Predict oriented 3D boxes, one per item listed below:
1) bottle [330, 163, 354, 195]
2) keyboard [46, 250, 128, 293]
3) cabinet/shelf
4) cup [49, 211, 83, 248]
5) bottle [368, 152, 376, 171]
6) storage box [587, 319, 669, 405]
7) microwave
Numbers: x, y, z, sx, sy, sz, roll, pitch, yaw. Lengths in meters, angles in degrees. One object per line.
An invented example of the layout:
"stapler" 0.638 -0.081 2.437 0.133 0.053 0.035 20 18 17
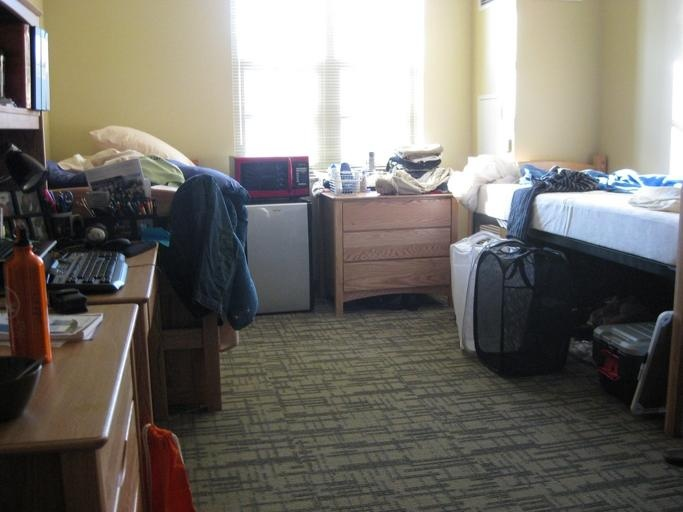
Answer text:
"bottle" 0.003 -0.602 4.032 0.167 0.218 0.306 -3 15 -7
"keyboard" -0.894 0.047 1.881 0.241 0.065 0.400 -2 17 -17
"cabinet/shelf" 0.252 -0.050 4.345 1.524 1.191 0.840 -2 7 -11
"cup" -1.180 -0.115 2.261 0.159 0.147 0.090 -1 5 -32
"bottle" 0.254 -0.781 4.371 0.041 0.158 0.033 -4 15 -11
"storage box" 1.423 0.516 2.599 0.400 0.331 0.511 0 7 4
"microwave" -0.507 -0.593 3.955 0.681 0.398 0.427 -3 9 -19
